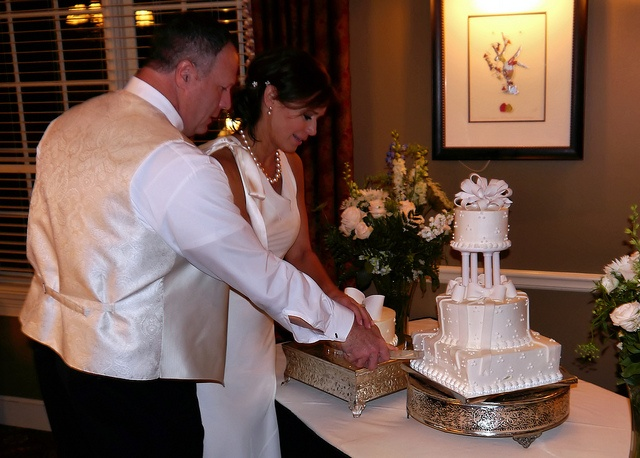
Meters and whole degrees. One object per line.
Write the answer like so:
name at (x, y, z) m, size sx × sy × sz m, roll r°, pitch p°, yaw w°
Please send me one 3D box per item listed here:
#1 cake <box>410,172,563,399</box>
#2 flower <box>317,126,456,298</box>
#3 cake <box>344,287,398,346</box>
cake at (0.653, 0.196, 2.243) m, size 0.531 × 0.800 × 0.372 m, roll -6°, pitch 10°, yaw -17°
flower at (0.305, -0.146, 3.152) m, size 0.743 × 0.982 × 0.750 m, roll -5°, pitch 10°, yaw 8°
cake at (0.221, 0.363, 2.634) m, size 0.241 × 0.272 × 0.248 m, roll -1°, pitch 8°, yaw -12°
